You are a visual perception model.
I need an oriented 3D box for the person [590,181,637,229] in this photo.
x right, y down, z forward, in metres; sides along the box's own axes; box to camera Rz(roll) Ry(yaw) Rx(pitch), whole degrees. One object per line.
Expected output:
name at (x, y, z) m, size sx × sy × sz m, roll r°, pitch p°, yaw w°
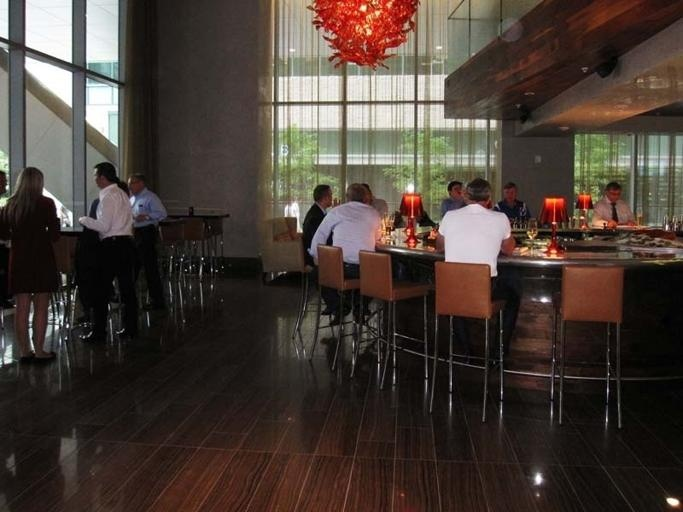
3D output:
person at (4.359, -0.558, 9.486) m, size 0.499 × 1.128 × 0.533 m, roll -17°, pitch 17°, yaw -33°

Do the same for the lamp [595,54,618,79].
lamp at (3.470, -2.450, 7.758) m, size 0.226 × 0.237 × 0.634 m, roll 3°, pitch 12°, yaw 15°

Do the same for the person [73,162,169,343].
person at (-2.689, -0.048, 6.818) m, size 0.614 × 2.013 × 0.621 m, roll -5°, pitch 11°, yaw -24°

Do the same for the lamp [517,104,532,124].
lamp at (3.430, -2.654, 11.126) m, size 0.236 × 0.231 × 0.367 m, roll -9°, pitch 0°, yaw -4°
